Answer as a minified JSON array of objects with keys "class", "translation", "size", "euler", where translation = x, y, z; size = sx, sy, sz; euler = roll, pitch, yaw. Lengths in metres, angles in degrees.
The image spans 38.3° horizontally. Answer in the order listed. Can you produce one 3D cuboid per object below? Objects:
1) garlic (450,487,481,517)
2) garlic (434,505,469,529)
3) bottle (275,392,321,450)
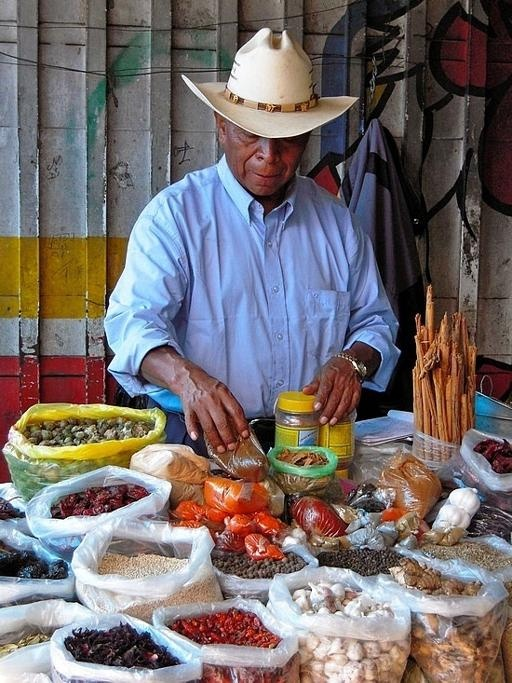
[{"class":"garlic","translation":[0.466,0.360,1.636],"size":[0.037,0.037,0.045],"euler":[-38,10,29]},{"class":"garlic","translation":[0.424,0.391,1.588],"size":[0.061,0.035,0.062],"euler":[-12,26,25]},{"class":"bottle","translation":[0.099,0.195,1.825],"size":[0.107,0.123,0.090],"euler":[-3,8,-21]}]
